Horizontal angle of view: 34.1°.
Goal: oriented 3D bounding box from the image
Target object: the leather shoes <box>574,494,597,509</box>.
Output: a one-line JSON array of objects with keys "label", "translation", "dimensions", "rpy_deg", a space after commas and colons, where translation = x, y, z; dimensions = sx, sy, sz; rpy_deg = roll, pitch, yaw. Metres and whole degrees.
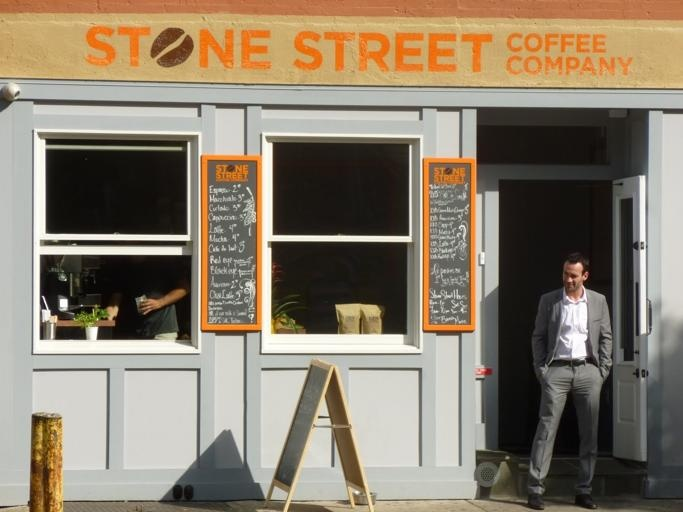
[{"label": "leather shoes", "translation": [2.262, 2.274, 10.340], "dimensions": [0.083, 0.103, 0.244], "rpy_deg": [1, -3, -28]}]

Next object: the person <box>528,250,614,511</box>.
[{"label": "person", "translation": [2.106, 1.159, 10.368], "dimensions": [0.780, 2.343, 0.301], "rpy_deg": [-1, -1, 12]}]

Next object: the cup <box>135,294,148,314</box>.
[{"label": "cup", "translation": [-1.883, 0.461, 10.629], "dimensions": [0.127, 0.176, 0.065], "rpy_deg": [-1, -1, 35]}]

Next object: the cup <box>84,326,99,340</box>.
[{"label": "cup", "translation": [-2.317, 0.728, 10.444], "dimensions": [0.111, 0.119, 0.120], "rpy_deg": [2, -3, 0]}]

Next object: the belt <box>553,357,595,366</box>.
[{"label": "belt", "translation": [2.098, 0.990, 10.366], "dimensions": [0.296, 0.069, 0.044], "rpy_deg": [-1, -1, 2]}]

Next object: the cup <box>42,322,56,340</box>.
[{"label": "cup", "translation": [-2.706, 0.701, 10.409], "dimensions": [0.158, 0.194, 0.139], "rpy_deg": [4, -4, -37]}]

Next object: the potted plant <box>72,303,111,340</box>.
[{"label": "potted plant", "translation": [-2.323, 0.648, 10.580], "dimensions": [0.345, 0.365, 0.284], "rpy_deg": [-1, -14, -1]}]

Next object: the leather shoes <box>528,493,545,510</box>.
[{"label": "leather shoes", "translation": [1.798, 2.268, 10.331], "dimensions": [0.157, 0.131, 0.139], "rpy_deg": [-1, -1, 9]}]
